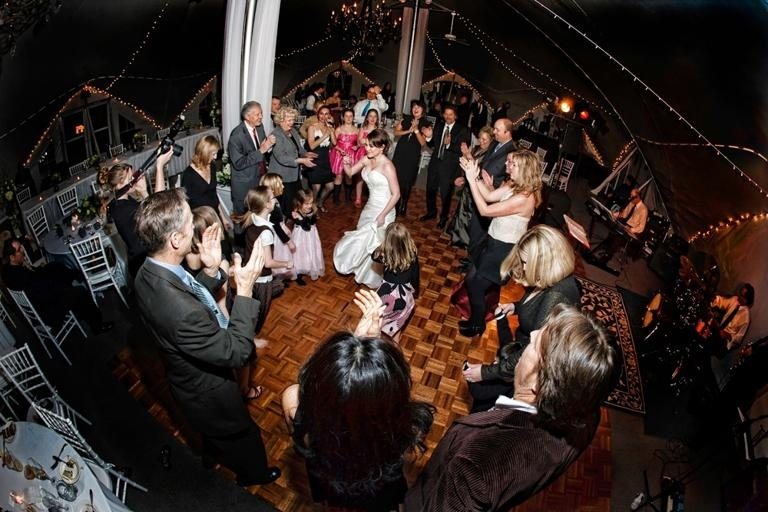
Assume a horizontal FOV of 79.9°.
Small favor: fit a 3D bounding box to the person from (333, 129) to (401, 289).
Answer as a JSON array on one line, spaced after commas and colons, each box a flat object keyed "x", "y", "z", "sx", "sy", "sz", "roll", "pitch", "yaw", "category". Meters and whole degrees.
[{"x": -0.258, "y": -0.576, "z": 6.083, "sx": 0.830, "sy": 2.171, "sz": 0.674, "roll": 10, "pitch": 26, "yaw": 12, "category": "person"}]

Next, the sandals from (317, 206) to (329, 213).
[{"x": -0.973, "y": -0.743, "z": 7.307, "sx": 0.079, "sy": 0.038, "sz": 0.139, "roll": -31, "pitch": 53, "yaw": -30, "category": "sandals"}]

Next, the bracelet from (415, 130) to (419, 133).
[{"x": 0.489, "y": -1.870, "z": 6.905, "sx": 0.069, "sy": 0.049, "sz": 0.092, "roll": 4, "pitch": 11, "yaw": 1, "category": "bracelet"}]

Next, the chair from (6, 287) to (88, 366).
[{"x": -3.502, "y": 0.725, "z": 4.725, "sx": 0.316, "sy": 0.990, "sz": 0.359, "roll": 22, "pitch": 56, "yaw": 16, "category": "chair"}]

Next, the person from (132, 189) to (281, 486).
[{"x": -1.550, "y": 0.801, "z": 3.953, "sx": 0.852, "sy": 2.668, "sz": 1.004, "roll": -32, "pitch": 60, "yaw": -29, "category": "person"}]

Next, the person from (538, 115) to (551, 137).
[{"x": 3.165, "y": -2.577, "z": 9.030, "sx": 0.209, "sy": 0.418, "sz": 0.737, "roll": 6, "pitch": 12, "yaw": 15, "category": "person"}]

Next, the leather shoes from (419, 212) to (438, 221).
[{"x": 0.719, "y": -0.631, "z": 7.380, "sx": 0.300, "sy": 0.109, "sz": 0.219, "roll": -3, "pitch": -15, "yaw": 0, "category": "leather shoes"}]

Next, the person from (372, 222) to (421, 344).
[{"x": 0.123, "y": 0.342, "z": 4.990, "sx": 0.469, "sy": 1.504, "sz": 0.478, "roll": 1, "pitch": 25, "yaw": -4, "category": "person"}]

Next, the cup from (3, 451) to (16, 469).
[{"x": -2.694, "y": 1.464, "z": 3.290, "sx": 0.101, "sy": 0.110, "sz": 0.064, "roll": 12, "pitch": 9, "yaw": 3, "category": "cup"}]

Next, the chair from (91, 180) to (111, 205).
[{"x": -3.256, "y": -0.730, "z": 5.269, "sx": 0.263, "sy": 0.152, "sz": 0.362, "roll": -1, "pitch": 36, "yaw": -24, "category": "chair"}]

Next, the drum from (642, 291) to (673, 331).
[{"x": 3.202, "y": 0.649, "z": 5.343, "sx": 0.154, "sy": 0.314, "sz": 0.455, "roll": 24, "pitch": 63, "yaw": 5, "category": "drum"}]

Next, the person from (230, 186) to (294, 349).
[{"x": -1.243, "y": 0.163, "z": 4.735, "sx": 0.607, "sy": 1.763, "sz": 0.568, "roll": -15, "pitch": 60, "yaw": -26, "category": "person"}]

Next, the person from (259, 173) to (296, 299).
[{"x": -1.222, "y": -0.193, "z": 5.238, "sx": 0.447, "sy": 1.612, "sz": 0.486, "roll": 0, "pitch": 58, "yaw": -13, "category": "person"}]

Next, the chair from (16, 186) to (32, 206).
[{"x": -3.824, "y": -0.656, "z": 4.915, "sx": 0.221, "sy": 0.144, "sz": 0.129, "roll": -8, "pitch": 21, "yaw": 32, "category": "chair"}]

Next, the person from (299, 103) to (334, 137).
[{"x": -1.339, "y": -2.943, "z": 9.545, "sx": 0.338, "sy": 1.192, "sz": 0.535, "roll": 21, "pitch": 31, "yaw": 35, "category": "person"}]

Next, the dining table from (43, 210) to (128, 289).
[{"x": -3.451, "y": -0.093, "z": 5.386, "sx": 0.761, "sy": 0.790, "sz": 0.798, "roll": 42, "pitch": 33, "yaw": 11, "category": "dining table"}]

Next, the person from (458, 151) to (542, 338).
[{"x": 1.183, "y": -0.120, "z": 5.269, "sx": 0.869, "sy": 2.208, "sz": 0.776, "roll": 4, "pitch": 20, "yaw": -9, "category": "person"}]

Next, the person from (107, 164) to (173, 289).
[{"x": -2.784, "y": -0.379, "z": 4.864, "sx": 0.338, "sy": 1.237, "sz": 0.427, "roll": 37, "pitch": 29, "yaw": 17, "category": "person"}]

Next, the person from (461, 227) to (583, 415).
[{"x": 1.159, "y": 0.573, "z": 3.975, "sx": 0.821, "sy": 1.796, "sz": 0.763, "roll": 12, "pitch": 43, "yaw": 7, "category": "person"}]
